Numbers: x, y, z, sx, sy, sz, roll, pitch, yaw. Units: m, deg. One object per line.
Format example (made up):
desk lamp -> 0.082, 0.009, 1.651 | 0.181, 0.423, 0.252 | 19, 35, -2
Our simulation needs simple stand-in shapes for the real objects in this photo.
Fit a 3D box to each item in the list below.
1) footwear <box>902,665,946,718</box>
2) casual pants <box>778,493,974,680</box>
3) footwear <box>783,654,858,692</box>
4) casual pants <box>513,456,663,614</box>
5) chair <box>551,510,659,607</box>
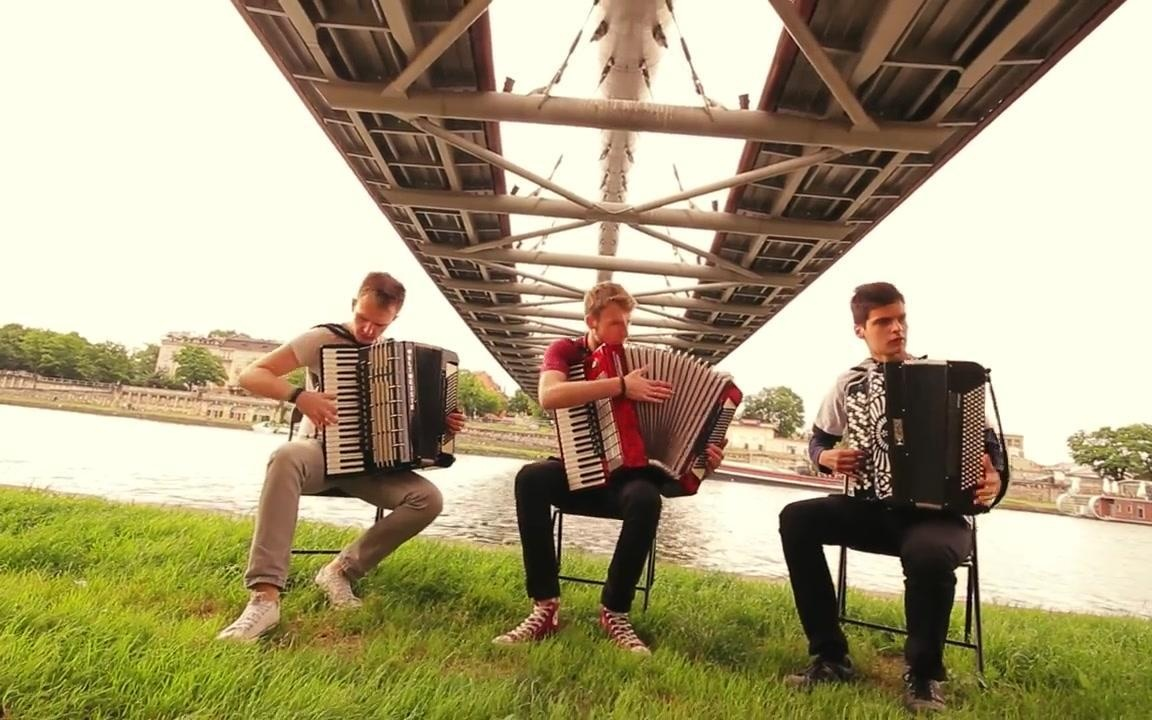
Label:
footwear -> 3.054, 2.914, 6.323 | 0.334, 0.272, 0.319 | 3, -6, 25
casual pants -> 2.812, 2.280, 7.139 | 1.637, 1.809, 1.674 | -5, -30, 31
footwear -> 2.223, 2.830, 6.518 | 0.733, 0.253, 0.242 | -1, -19, -7
casual pants -> 0.167, 1.777, 7.371 | 1.491, 1.467, 1.802 | 3, 33, 12
chair -> 0.301, 2.222, 8.184 | 1.198, 0.948, 0.888 | 10, -16, 4
